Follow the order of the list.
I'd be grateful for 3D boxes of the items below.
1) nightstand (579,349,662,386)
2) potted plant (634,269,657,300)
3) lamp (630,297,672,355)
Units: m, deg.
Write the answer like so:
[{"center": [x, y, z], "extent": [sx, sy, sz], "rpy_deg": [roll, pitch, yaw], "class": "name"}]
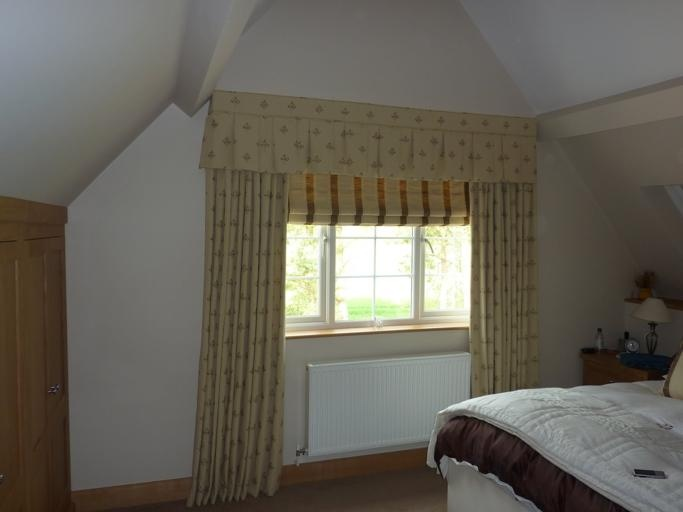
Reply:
[{"center": [2.492, 1.020, 4.655], "extent": [0.508, 0.279, 0.560], "rpy_deg": [2, 5, -11], "class": "nightstand"}, {"center": [2.938, 0.275, 5.018], "extent": [0.185, 0.262, 0.219], "rpy_deg": [12, 20, 42], "class": "potted plant"}, {"center": [2.799, 0.589, 4.736], "extent": [0.327, 0.575, 0.439], "rpy_deg": [1, -3, -9], "class": "lamp"}]
